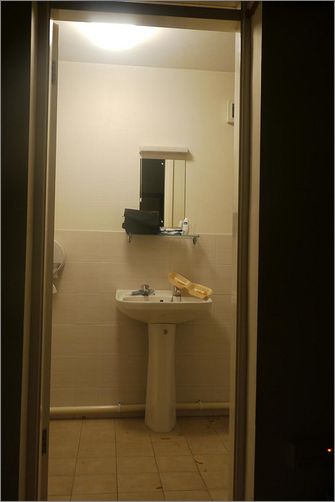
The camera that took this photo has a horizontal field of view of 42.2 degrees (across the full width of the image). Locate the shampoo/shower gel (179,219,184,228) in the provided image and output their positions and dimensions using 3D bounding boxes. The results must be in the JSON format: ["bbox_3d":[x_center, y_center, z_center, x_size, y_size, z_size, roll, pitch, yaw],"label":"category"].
[{"bbox_3d":[0.083,-0.174,2.807,0.021,0.051,0.058,1,-1,-12],"label":"shampoo/shower gel"}]

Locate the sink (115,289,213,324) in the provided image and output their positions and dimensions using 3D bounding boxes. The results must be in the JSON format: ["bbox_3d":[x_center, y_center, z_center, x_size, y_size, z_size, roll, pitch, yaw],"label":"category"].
[{"bbox_3d":[-0.034,0.345,2.598,0.546,0.186,0.400,1,-1,-8],"label":"sink"}]

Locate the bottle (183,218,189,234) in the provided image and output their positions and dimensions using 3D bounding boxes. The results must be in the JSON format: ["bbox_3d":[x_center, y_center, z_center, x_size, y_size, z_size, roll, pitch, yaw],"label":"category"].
[{"bbox_3d":[0.119,-0.151,2.777,0.053,0.106,0.050,1,-1,0],"label":"bottle"}]

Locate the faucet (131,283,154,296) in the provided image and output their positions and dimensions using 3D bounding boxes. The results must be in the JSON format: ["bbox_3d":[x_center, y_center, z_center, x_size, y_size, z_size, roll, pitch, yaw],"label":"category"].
[{"bbox_3d":[-0.155,0.244,2.712,0.091,0.053,0.074,0,0,-17],"label":"faucet"}]

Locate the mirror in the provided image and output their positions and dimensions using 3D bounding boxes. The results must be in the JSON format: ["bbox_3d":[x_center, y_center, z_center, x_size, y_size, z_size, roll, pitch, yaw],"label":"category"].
[{"bbox_3d":[-0.029,-0.386,2.847,0.297,0.536,0.012,0,19,-2],"label":"mirror"}]
